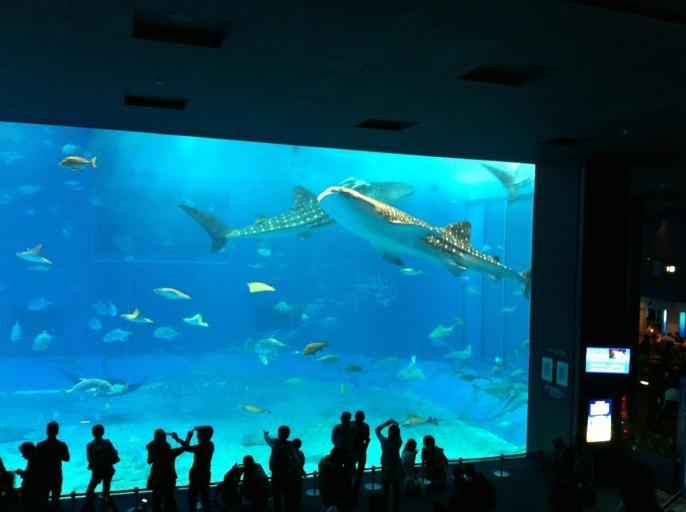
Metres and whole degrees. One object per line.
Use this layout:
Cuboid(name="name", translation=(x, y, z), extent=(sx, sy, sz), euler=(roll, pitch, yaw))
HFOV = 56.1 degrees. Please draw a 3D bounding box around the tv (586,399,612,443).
Cuboid(name="tv", translation=(4.592, 2.957, 11.522), extent=(0.468, 0.775, 0.165), euler=(-1, -9, -3))
